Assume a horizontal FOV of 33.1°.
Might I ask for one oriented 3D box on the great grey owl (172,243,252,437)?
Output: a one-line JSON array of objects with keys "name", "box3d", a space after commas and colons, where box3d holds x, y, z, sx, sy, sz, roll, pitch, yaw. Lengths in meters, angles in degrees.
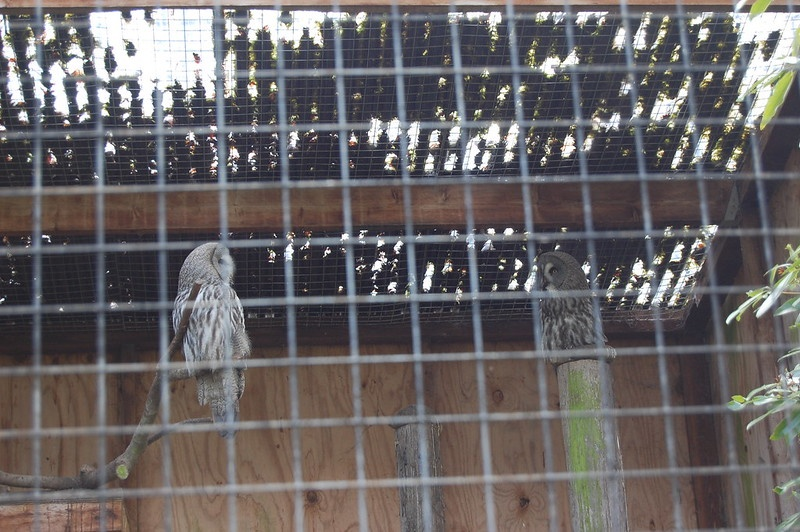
[{"name": "great grey owl", "box3d": [-0.979, 0.542, 6.981, 0.380, 1.283, 0.989, -2, 34, -8]}]
